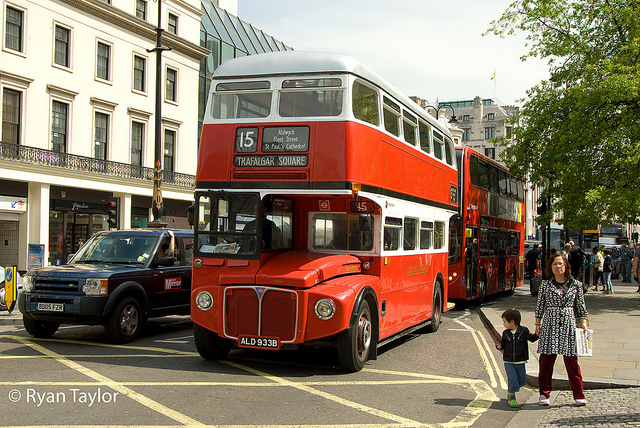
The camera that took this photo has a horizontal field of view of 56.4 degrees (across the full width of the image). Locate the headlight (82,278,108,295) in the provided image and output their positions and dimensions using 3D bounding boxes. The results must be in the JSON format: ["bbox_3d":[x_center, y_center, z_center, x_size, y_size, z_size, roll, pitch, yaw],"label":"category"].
[{"bbox_3d":[-4.866,1.565,12.896,0.337,0.327,0.484,-2,-5,25],"label":"headlight"}]

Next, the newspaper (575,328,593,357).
[{"bbox_3d":[4.097,2.009,9.286,0.365,0.375,0.099,2,-7,29],"label":"newspaper"}]

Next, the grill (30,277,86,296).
[{"bbox_3d":[-5.722,1.582,13.041,1.348,0.401,0.239,-2,-7,23],"label":"grill"}]

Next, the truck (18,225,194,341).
[{"bbox_3d":[-4.708,1.642,14.896,2.571,2.172,4.597,-4,-8,23],"label":"truck"}]

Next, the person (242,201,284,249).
[{"bbox_3d":[-1.069,0.244,11.625,0.197,0.837,0.837,-3,-3,41],"label":"person"}]

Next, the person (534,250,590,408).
[{"bbox_3d":[3.975,1.835,9.886,0.804,2.445,1.406,-2,-7,23],"label":"person"}]

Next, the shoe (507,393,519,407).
[{"bbox_3d":[3.029,2.940,9.386,0.147,0.207,0.170,-2,-6,18],"label":"shoe"}]

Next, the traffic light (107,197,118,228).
[{"bbox_3d":[-7.468,-0.038,21.589,0.315,1.147,1.147,3,-7,-20],"label":"traffic light"}]

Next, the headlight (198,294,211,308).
[{"bbox_3d":[-2.201,1.650,11.268,0.227,0.234,0.077,3,-4,25],"label":"headlight"}]

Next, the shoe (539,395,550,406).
[{"bbox_3d":[3.499,2.916,9.344,0.167,0.147,0.123,0,-6,2],"label":"shoe"}]

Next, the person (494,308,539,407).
[{"bbox_3d":[3.150,2.304,9.636,0.613,1.515,0.863,-1,-6,16],"label":"person"}]
